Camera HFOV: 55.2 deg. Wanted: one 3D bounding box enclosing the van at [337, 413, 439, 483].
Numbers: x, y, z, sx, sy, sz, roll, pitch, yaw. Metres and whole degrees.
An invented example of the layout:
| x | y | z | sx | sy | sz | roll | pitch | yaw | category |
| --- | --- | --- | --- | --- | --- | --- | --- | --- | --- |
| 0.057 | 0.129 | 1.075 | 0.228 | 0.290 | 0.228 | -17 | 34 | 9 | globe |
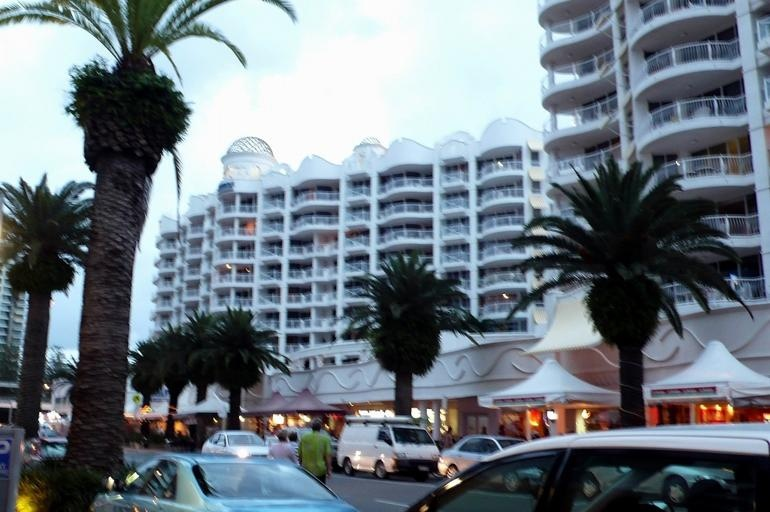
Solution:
| x | y | z | sx | sy | sz | roll | pitch | yaw | category |
| --- | --- | --- | --- | --- | --- | --- | --- | --- | --- |
| 0.075 | 8.090 | 30.887 | 2.354 | 2.010 | 4.089 | 12 | -20 | -36 | van |
